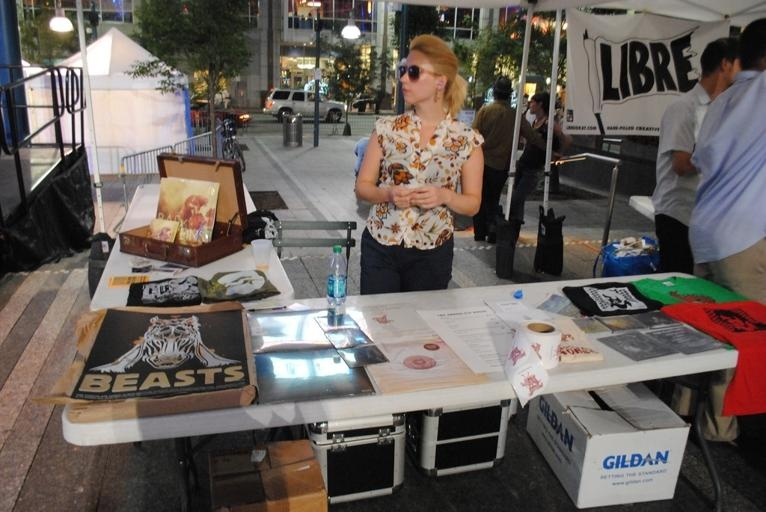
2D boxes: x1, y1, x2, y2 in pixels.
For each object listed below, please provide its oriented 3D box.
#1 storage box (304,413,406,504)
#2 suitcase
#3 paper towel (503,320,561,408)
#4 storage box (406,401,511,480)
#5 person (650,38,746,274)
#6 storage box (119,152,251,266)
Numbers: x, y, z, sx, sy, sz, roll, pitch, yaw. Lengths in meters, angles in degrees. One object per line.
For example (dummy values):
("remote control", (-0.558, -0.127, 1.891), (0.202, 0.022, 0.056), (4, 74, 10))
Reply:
("storage box", (-0.211, 1.234, 3.639), (0.631, 0.540, 0.645), (-3, 8, -16))
("suitcase", (-1.422, -0.392, 4.160), (0.693, 0.873, 1.001), (-12, 25, -39))
("paper towel", (0.812, 0.536, 2.948), (0.290, 0.269, 0.573), (6, 28, 26))
("storage box", (0.506, 1.165, 3.852), (0.592, 0.541, 0.599), (-2, 7, -9))
("person", (2.855, -0.839, 4.994), (0.824, 2.318, 0.746), (-2, -4, 4))
("storage box", (-1.455, -0.366, 4.158), (0.687, 0.875, 0.983), (-13, 26, -41))
